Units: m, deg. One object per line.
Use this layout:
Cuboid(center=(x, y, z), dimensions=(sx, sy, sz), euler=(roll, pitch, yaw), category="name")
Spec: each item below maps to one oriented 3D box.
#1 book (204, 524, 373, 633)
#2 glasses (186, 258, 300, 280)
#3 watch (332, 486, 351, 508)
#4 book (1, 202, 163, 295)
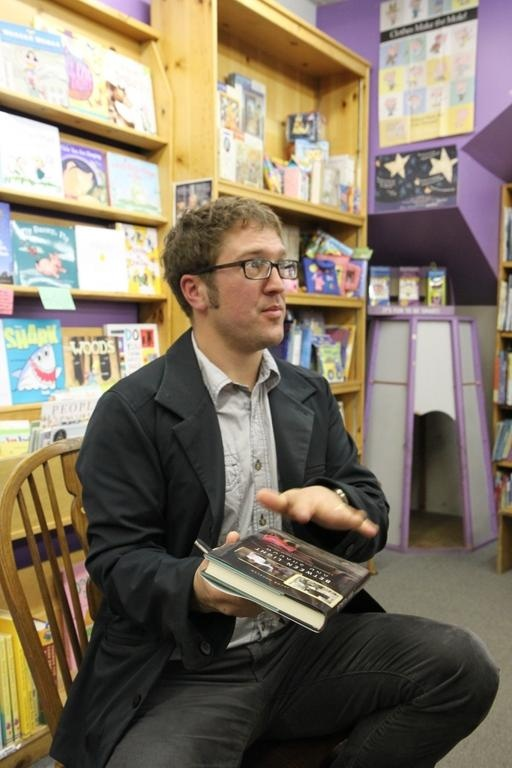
Cuboid(center=(0.051, 0.238, 0.693), dimensions=(0.172, 0.069, 0.256), euler=(2, 3, 25), category="book")
Cuboid(center=(-0.006, -0.232, 1.042), dimensions=(0.126, 0.038, 0.101), euler=(-2, 6, 16), category="glasses")
Cuboid(center=(0.145, 0.193, 0.875), dimensions=(0.006, 0.025, 0.024), euler=(-32, 7, -3), category="watch")
Cuboid(center=(-0.653, -0.494, 1.862), dimensions=(0.056, 0.212, 0.435), euler=(-14, -9, 37), category="book")
